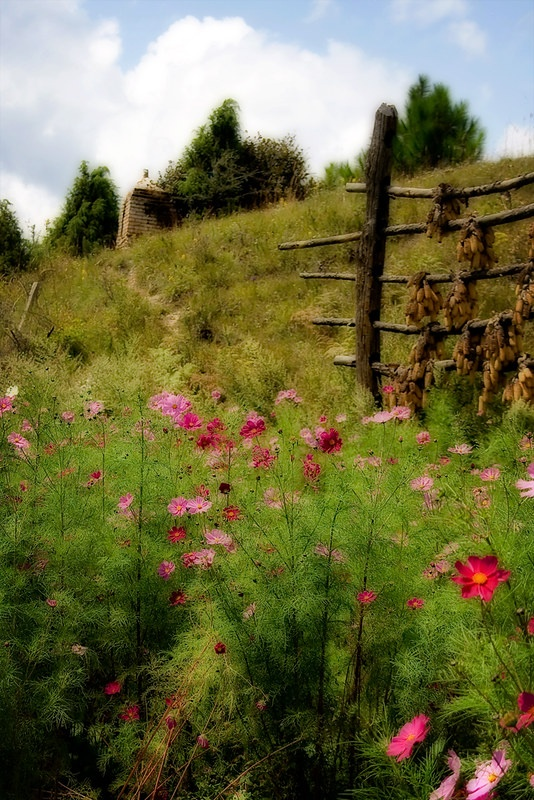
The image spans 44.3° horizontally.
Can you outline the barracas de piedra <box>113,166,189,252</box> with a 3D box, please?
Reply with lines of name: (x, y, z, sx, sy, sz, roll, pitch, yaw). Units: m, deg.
barracas de piedra: (-2.873, -4.316, 15.343, 0.812, 1.722, 1.509, 6, 4, 39)
